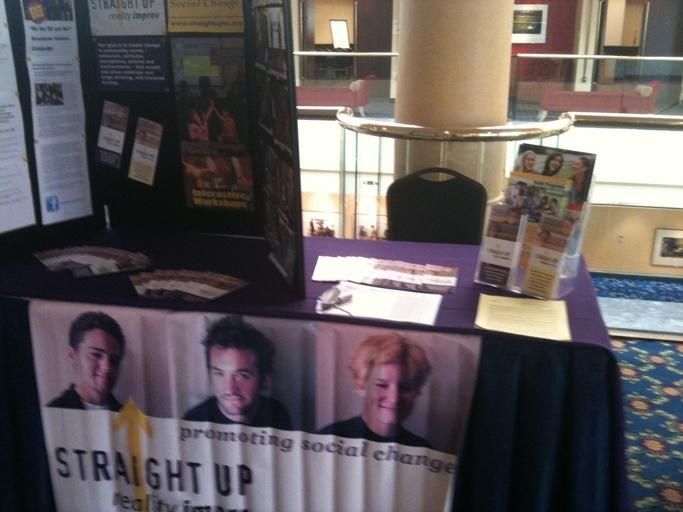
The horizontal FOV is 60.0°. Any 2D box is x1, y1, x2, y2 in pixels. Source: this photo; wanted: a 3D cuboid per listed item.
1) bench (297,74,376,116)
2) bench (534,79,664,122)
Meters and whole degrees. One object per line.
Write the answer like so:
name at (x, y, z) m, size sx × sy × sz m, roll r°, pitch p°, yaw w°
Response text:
bench at (-0.086, -1.745, 6.400) m, size 0.851 × 0.374 × 0.399 m, roll 3°, pitch 19°, yaw 6°
bench at (2.387, -1.480, 5.494) m, size 1.004 × 0.298 × 0.214 m, roll 7°, pitch 19°, yaw 18°
